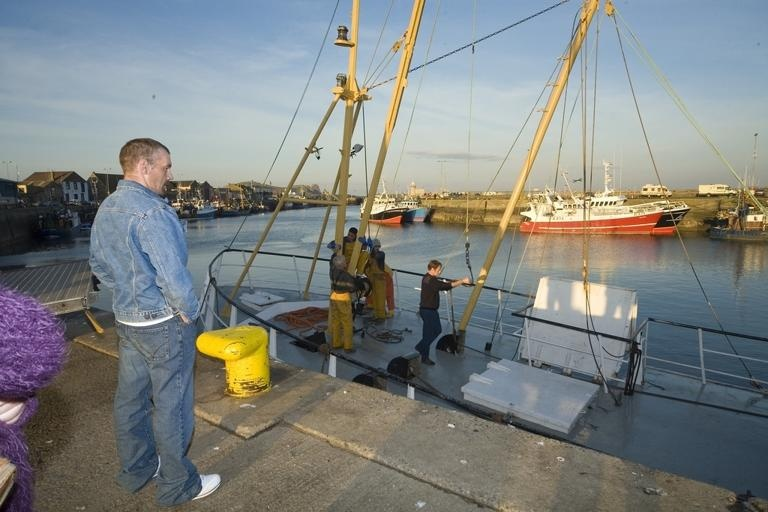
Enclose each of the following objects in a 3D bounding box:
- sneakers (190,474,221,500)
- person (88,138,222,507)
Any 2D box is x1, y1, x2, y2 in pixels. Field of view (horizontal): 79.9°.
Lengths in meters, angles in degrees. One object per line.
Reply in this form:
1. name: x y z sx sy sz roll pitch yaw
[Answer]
1. sneakers: -1.359 1.749 3.496 0.086 0.090 0.214 7 14 36
2. person: -1.695 0.492 3.398 0.940 2.643 0.463 9 11 28
